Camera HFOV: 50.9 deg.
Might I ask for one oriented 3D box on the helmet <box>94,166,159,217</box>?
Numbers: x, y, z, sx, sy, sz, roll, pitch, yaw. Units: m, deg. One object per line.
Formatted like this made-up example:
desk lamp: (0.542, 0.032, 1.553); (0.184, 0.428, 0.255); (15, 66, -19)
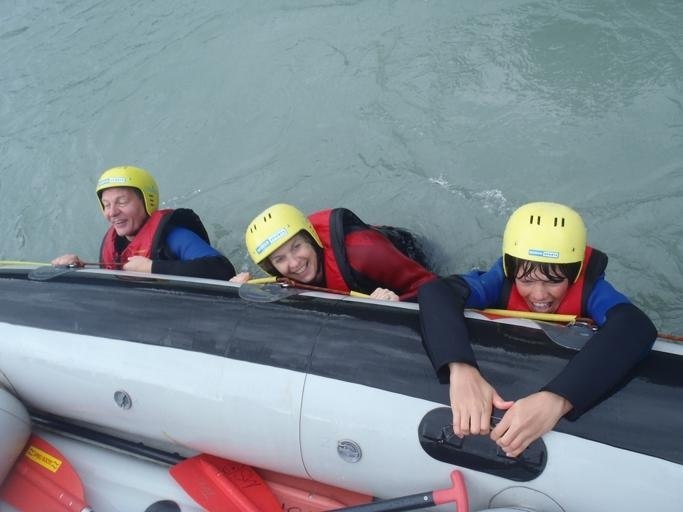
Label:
helmet: (-1.845, -0.588, 6.285); (0.529, 0.430, 0.437); (-10, 18, -38)

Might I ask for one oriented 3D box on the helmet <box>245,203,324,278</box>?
helmet: (-0.470, -0.222, 5.177); (0.403, 0.544, 0.488); (-36, 28, 9)

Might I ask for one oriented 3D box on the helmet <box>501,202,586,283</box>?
helmet: (1.239, -0.139, 4.361); (0.354, 0.488, 0.507); (5, 18, 19)

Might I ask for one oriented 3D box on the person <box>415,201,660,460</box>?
person: (1.124, 0.372, 4.295); (1.253, 0.662, 1.833); (11, 47, 33)
